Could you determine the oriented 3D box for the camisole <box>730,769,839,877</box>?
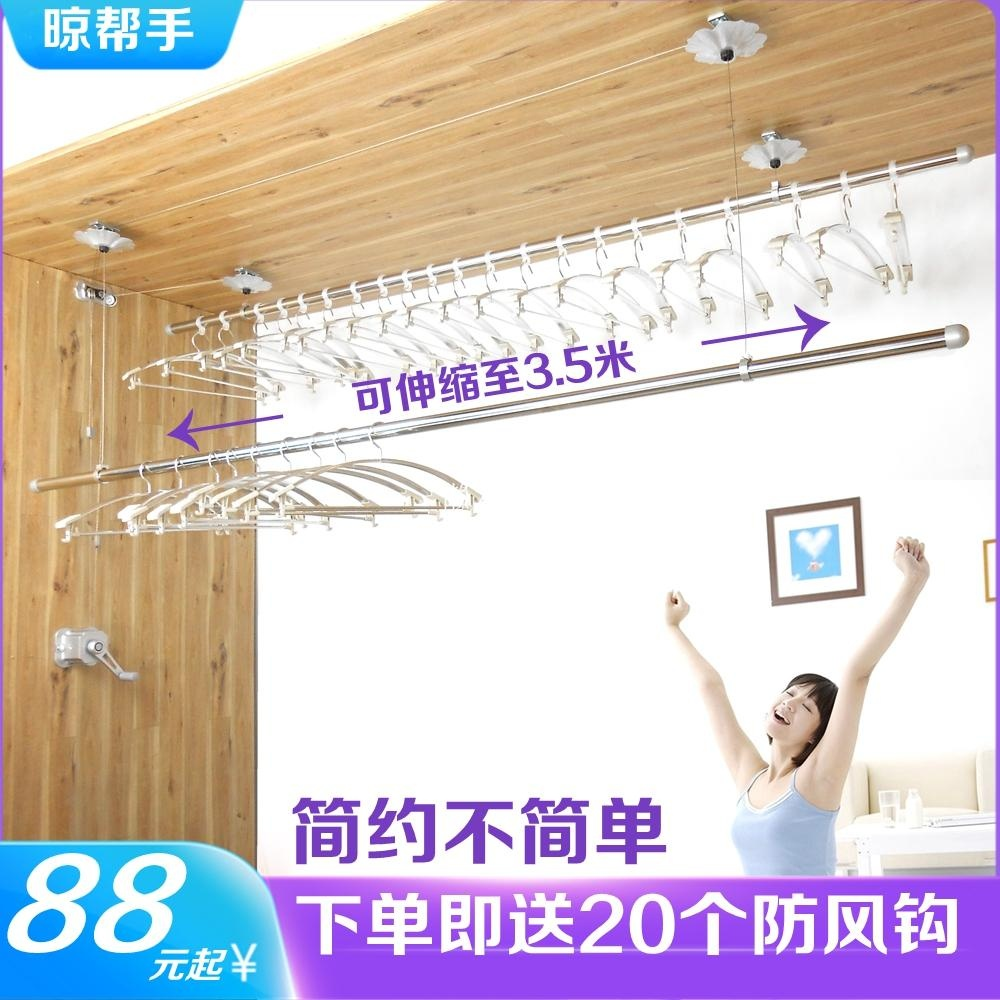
[{"bbox_3d":[0.654,0.758,2.373,0.252,0.237,0.154,-3,-12,22],"label":"camisole"}]

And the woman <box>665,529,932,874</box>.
[{"bbox_3d":[0.686,0.498,2.422,0.483,0.790,0.577,2,-11,-2],"label":"woman"}]
